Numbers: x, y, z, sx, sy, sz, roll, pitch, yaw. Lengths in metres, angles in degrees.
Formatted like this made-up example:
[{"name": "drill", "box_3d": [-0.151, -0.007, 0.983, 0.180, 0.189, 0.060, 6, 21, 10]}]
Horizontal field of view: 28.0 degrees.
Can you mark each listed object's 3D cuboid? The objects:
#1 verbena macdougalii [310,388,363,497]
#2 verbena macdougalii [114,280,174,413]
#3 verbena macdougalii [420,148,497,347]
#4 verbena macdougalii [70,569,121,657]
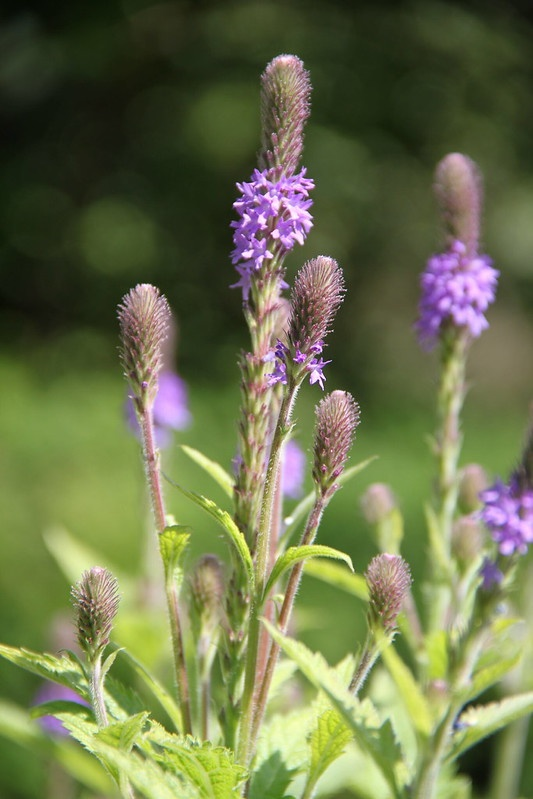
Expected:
[{"name": "verbena macdougalii", "box_3d": [0.097, 0.053, 1.546, 0.062, 0.150, 0.116, 9, 17, 3]}, {"name": "verbena macdougalii", "box_3d": [-0.182, -0.084, 1.565, 0.074, 0.186, 0.153, 5, 17, -8]}, {"name": "verbena macdougalii", "box_3d": [0.350, -0.274, 1.901, 0.138, 0.306, 0.148, 9, 17, 5]}, {"name": "verbena macdougalii", "box_3d": [-0.232, 0.287, 1.457, 0.064, 0.127, 0.076, 5, 17, -9]}]
